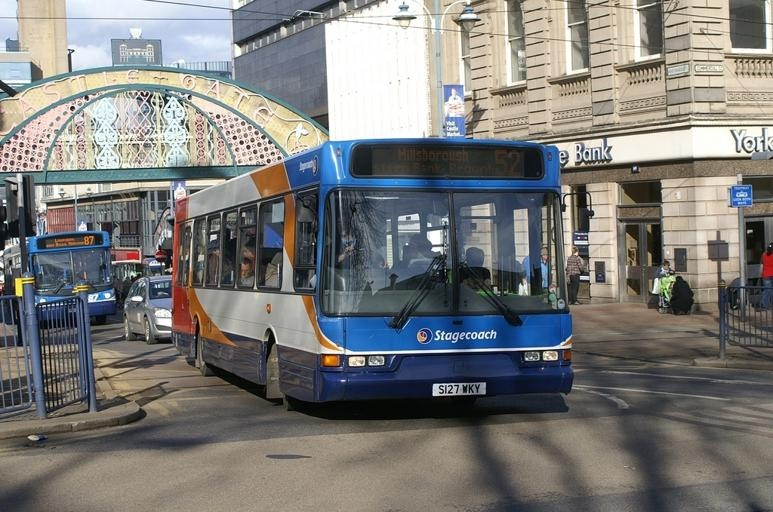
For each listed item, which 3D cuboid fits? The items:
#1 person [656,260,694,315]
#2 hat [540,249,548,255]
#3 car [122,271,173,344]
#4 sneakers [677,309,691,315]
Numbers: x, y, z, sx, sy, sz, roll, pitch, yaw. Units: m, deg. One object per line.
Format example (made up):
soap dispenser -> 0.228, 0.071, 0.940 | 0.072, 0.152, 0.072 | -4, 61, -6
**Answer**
person -> 9.508, 1.018, 27.078 | 1.163, 1.707, 0.831 | 0, 3, 26
hat -> 2.243, -0.054, 11.641 | 0.082, 0.079, 0.100 | -1, 4, 3
car -> -7.105, 1.638, 24.529 | 1.519, 1.293, 2.623 | 2, -7, -23
sneakers -> 9.747, 1.831, 26.691 | 0.610, 0.153, 0.266 | -2, 2, -27
